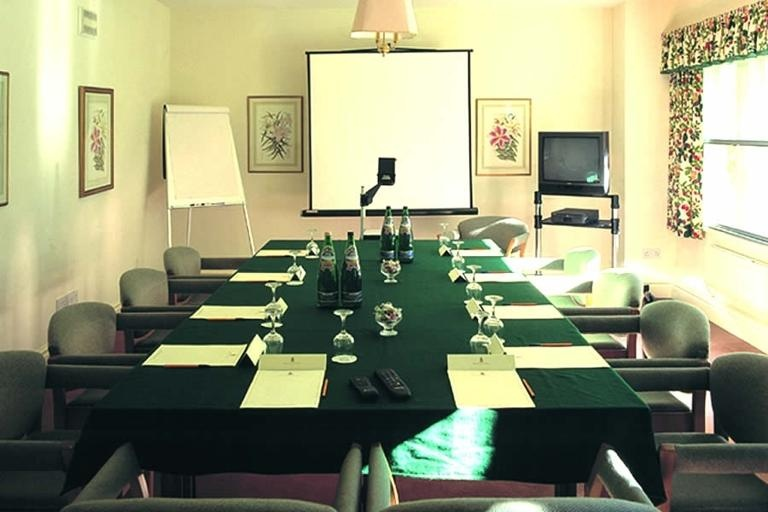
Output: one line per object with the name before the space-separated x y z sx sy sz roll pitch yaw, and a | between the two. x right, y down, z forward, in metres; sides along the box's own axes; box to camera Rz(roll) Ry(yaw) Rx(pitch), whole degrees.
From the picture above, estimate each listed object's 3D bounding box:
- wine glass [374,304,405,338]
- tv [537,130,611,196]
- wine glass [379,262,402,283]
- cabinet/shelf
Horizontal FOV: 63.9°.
wine glass | 0.016 0.342 3.327 0.156 0.162 0.168 1 -1 -13
tv | 2.218 -1.078 7.148 0.764 0.711 0.419 2 5 31
wine glass | 0.040 0.106 4.172 0.134 0.138 0.143 2 5 5
cabinet/shelf | 2.307 -0.352 7.271 0.865 0.810 0.387 2 14 16
